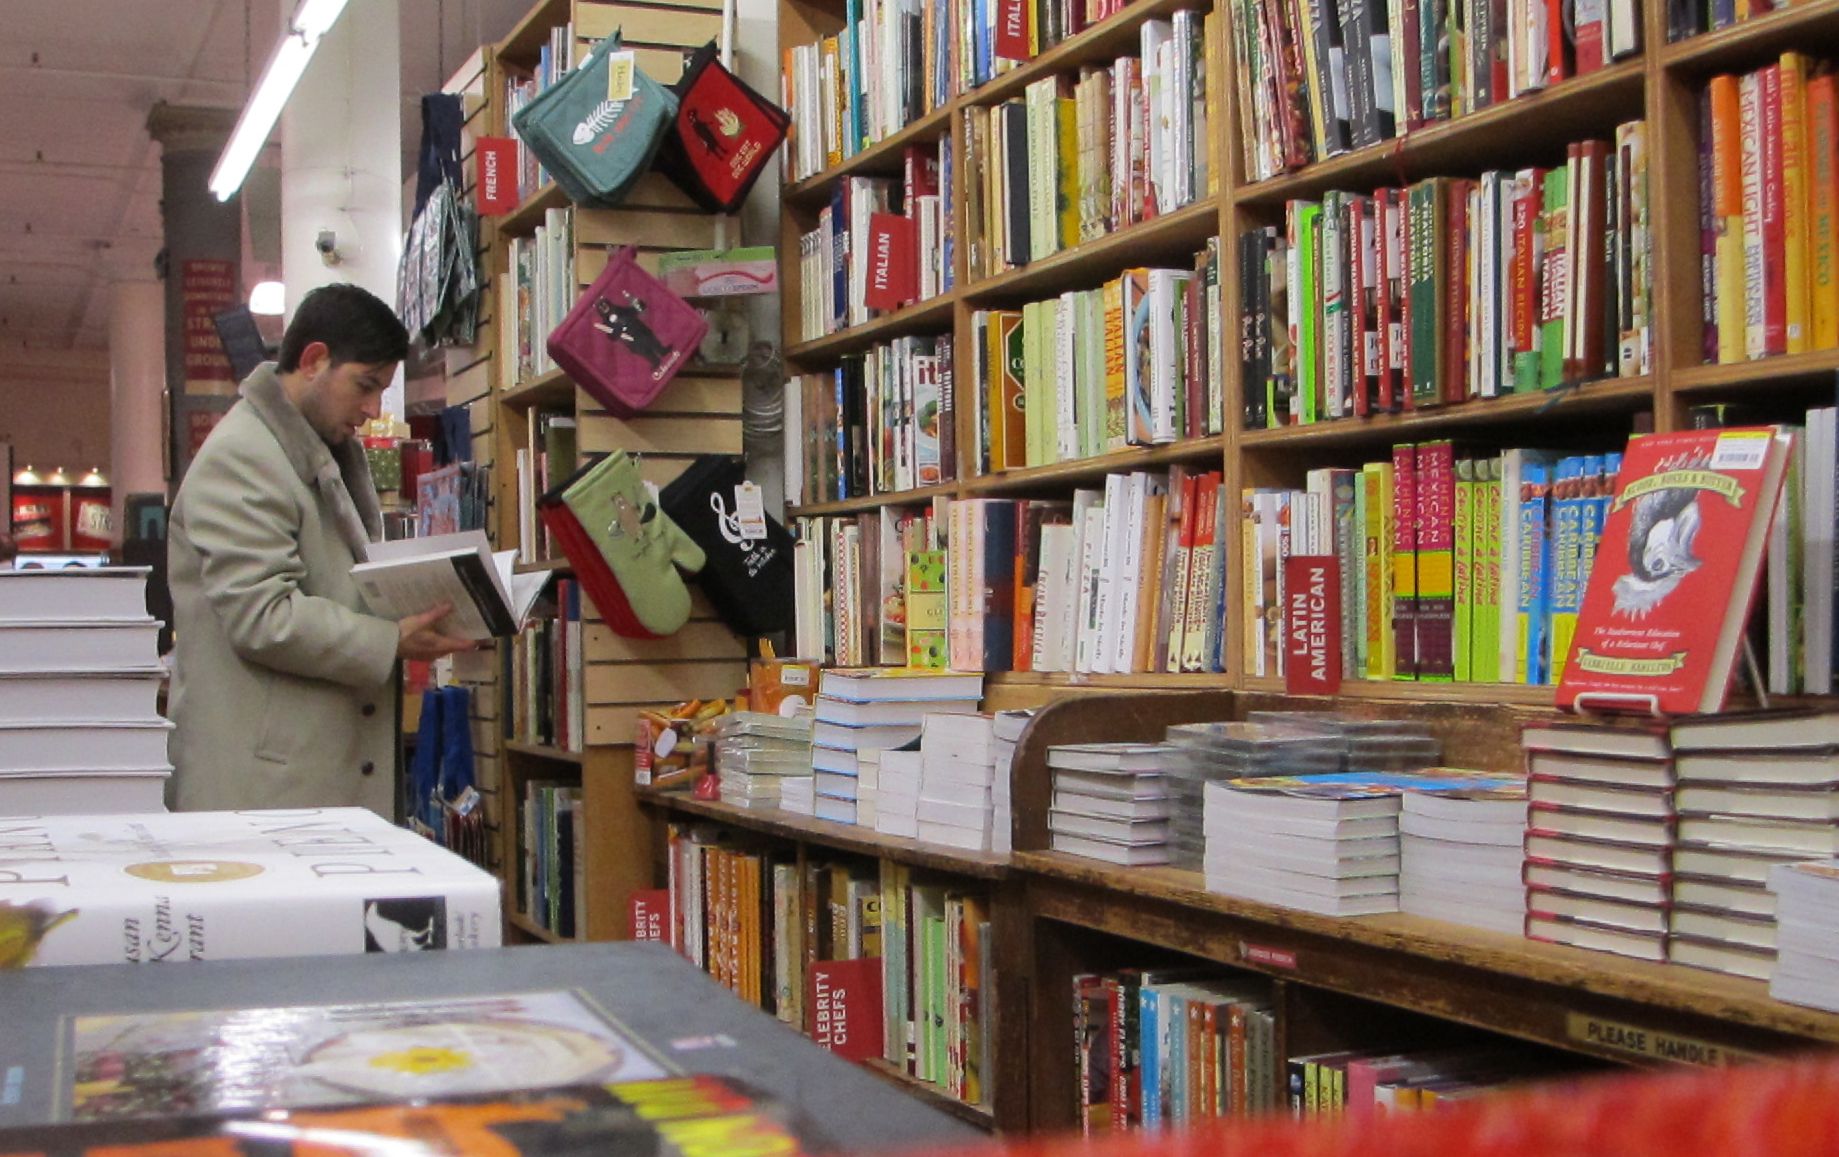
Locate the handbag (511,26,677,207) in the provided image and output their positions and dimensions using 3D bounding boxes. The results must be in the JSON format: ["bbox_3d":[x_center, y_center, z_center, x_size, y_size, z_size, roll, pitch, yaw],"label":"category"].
[{"bbox_3d":[-0.887,-1.273,4.783,0.456,0.457,0.165,42,1,-6],"label":"handbag"}]

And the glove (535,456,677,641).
[{"bbox_3d":[-0.792,-0.060,4.708,0.145,0.485,0.370,-11,27,39],"label":"glove"}]

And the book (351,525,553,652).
[{"bbox_3d":[-1.064,-0.014,3.843,0.289,0.126,0.316,-3,-43,17],"label":"book"}]

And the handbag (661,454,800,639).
[{"bbox_3d":[-0.538,-0.091,4.906,0.508,0.393,0.147,56,-21,-21],"label":"handbag"}]

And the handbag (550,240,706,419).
[{"bbox_3d":[-0.815,-0.683,4.808,0.444,0.447,0.146,41,-15,-18],"label":"handbag"}]
